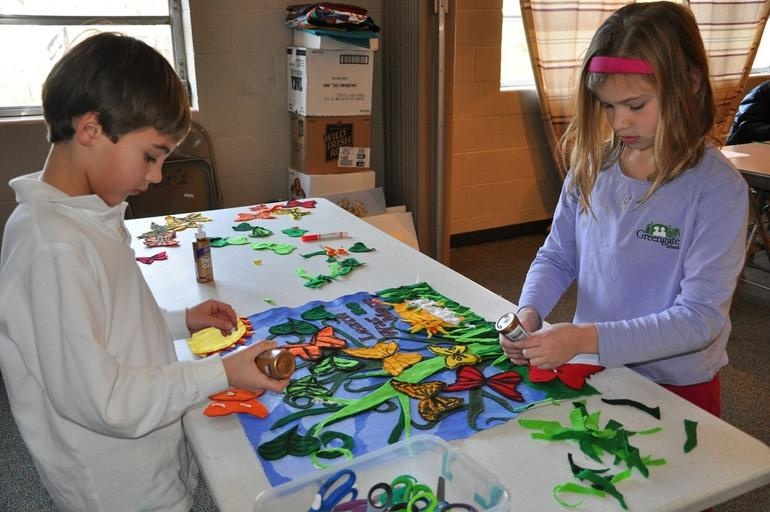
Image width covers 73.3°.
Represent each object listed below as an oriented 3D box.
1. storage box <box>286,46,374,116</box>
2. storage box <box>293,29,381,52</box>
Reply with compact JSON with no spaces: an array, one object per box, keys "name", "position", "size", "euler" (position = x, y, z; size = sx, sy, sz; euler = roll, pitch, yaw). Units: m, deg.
[{"name":"storage box","position":[-0.358,-1.046,3.345],"size":[0.494,0.368,0.488],"euler":[-5,16,-24]},{"name":"storage box","position":[-0.335,-1.339,3.201],"size":[0.549,0.149,0.274],"euler":[-1,19,6]}]
